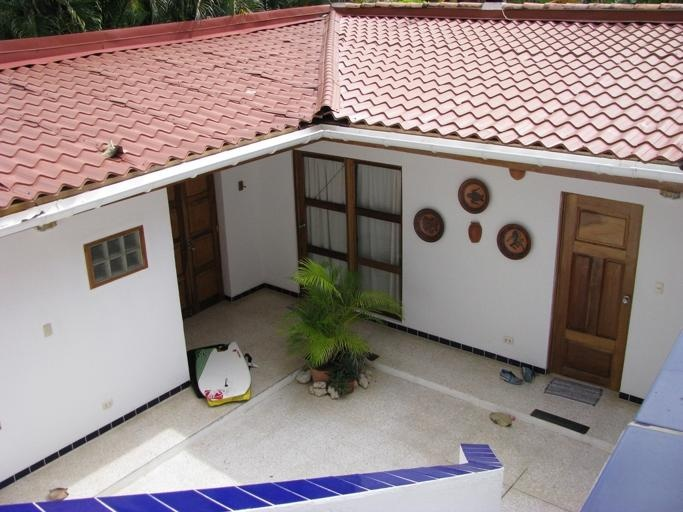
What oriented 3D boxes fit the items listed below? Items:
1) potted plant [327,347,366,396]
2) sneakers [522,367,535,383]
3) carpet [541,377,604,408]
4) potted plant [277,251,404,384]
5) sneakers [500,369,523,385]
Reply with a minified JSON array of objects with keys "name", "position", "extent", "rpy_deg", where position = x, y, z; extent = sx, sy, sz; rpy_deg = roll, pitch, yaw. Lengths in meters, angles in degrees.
[{"name":"potted plant","position":[0.053,1.778,7.989],"extent":[0.518,0.583,0.446],"rpy_deg":[2,20,-2]},{"name":"sneakers","position":[2.875,1.831,8.071],"extent":[0.151,0.217,0.171],"rpy_deg":[-5,4,-31]},{"name":"carpet","position":[3.486,2.009,7.815],"extent":[0.748,0.096,0.497],"rpy_deg":[16,24,28]},{"name":"potted plant","position":[-0.123,0.939,8.405],"extent":[1.842,1.369,1.892],"rpy_deg":[-7,41,-3]},{"name":"sneakers","position":[2.621,1.868,8.070],"extent":[0.260,0.100,0.175],"rpy_deg":[17,38,30]}]
